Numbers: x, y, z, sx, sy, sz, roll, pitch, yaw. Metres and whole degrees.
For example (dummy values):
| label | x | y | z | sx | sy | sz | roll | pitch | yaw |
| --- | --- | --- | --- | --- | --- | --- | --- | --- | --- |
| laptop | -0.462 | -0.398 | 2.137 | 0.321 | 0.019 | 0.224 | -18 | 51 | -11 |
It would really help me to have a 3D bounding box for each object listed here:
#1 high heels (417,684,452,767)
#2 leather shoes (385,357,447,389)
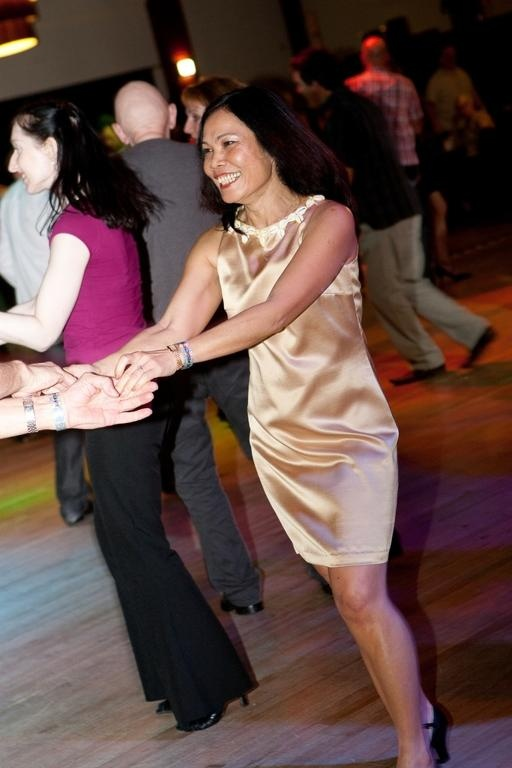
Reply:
| label | x | y | z | sx | sy | sz | roll | pitch | yaw |
| --- | --- | --- | --- | --- | --- | --- | --- | --- | --- |
| high heels | 0.337 | 0.656 | 1.245 | 0.069 | 0.155 | 0.059 | -8 | 8 | -38 |
| leather shoes | 1.054 | -0.049 | 4.184 | 0.450 | 0.160 | 0.141 | -17 | 0 | 23 |
